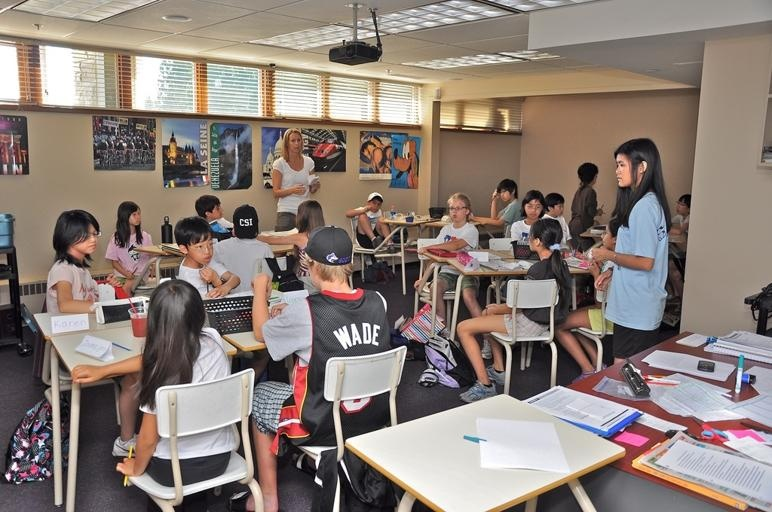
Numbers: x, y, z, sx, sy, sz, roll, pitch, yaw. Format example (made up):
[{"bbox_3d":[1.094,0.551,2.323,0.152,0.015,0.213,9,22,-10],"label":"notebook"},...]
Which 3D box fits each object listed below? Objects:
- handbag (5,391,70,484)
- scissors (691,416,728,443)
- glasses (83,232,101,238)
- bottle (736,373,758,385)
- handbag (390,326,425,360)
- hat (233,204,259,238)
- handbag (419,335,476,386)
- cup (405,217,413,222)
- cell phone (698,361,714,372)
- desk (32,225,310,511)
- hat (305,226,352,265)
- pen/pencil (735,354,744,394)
[{"bbox_3d":[-2.409,1.246,3.518,0.180,0.574,0.545,2,-3,36],"label":"handbag"},{"bbox_3d":[1.536,0.838,2.431,0.093,0.031,0.063,12,39,41],"label":"scissors"},{"bbox_3d":[-2.302,-0.170,3.994,0.067,0.019,0.066,4,11,23],"label":"glasses"},{"bbox_3d":[2.003,0.679,2.826,0.068,0.020,0.067,0,18,0],"label":"bottle"},{"bbox_3d":[0.216,0.897,5.100,0.461,0.179,0.356,7,-6,35],"label":"handbag"},{"bbox_3d":[-1.256,-0.322,4.658,0.219,0.263,0.304,2,20,-8],"label":"hat"},{"bbox_3d":[0.574,1.043,4.829,0.509,0.215,0.413,22,25,37],"label":"handbag"},{"bbox_3d":[0.359,-0.590,8.221,0.097,0.062,0.090,0,2,0],"label":"cup"},{"bbox_3d":[1.853,0.629,2.971,0.066,0.015,0.060,-2,23,20],"label":"cell phone"},{"bbox_3d":[-1.147,0.556,3.183,1.647,1.487,1.231,-8,20,-36],"label":"desk"},{"bbox_3d":[-0.316,-0.055,2.901,0.198,0.153,0.252,-5,29,-18],"label":"hat"},{"bbox_3d":[1.965,0.667,2.853,0.030,0.028,0.227,5,45,25],"label":"pen/pencil"}]
